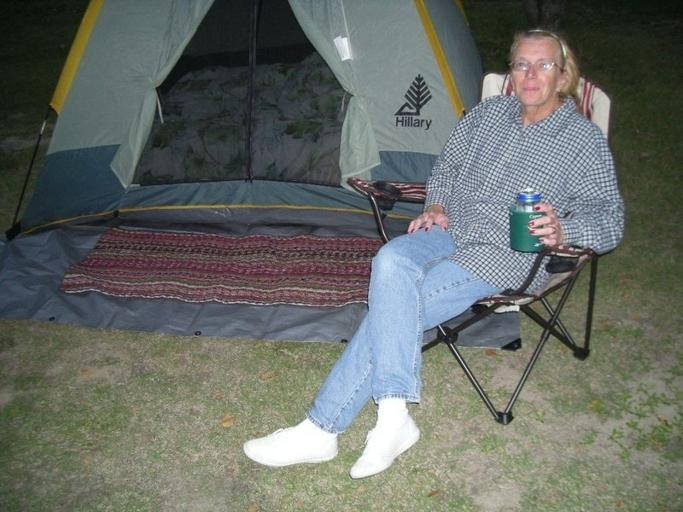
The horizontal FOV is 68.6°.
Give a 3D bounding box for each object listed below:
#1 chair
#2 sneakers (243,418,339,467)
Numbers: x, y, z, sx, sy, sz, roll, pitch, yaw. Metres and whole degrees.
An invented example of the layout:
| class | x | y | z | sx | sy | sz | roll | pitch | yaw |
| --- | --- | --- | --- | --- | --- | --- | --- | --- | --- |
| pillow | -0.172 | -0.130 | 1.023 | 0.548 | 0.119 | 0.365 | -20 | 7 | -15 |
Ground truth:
| class | x | y | z | sx | sy | sz | roll | pitch | yaw |
| --- | --- | --- | --- | --- | --- | --- | --- | --- | --- |
| chair | 0.901 | 0.047 | 2.775 | 1.013 | 1.286 | 1.157 | -13 | 16 | -26 |
| sneakers | -0.215 | 0.850 | 2.361 | 0.522 | 0.207 | 0.179 | 1 | 31 | -2 |
